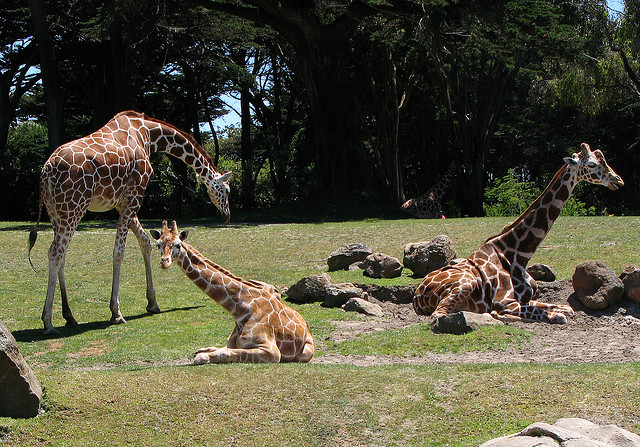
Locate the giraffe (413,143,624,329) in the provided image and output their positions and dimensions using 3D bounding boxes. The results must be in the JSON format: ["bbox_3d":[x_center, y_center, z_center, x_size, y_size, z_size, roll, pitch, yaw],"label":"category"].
[{"bbox_3d":[4.258,0.351,15.412,4.179,3.798,2.931,-2,0,26],"label":"giraffe"}]

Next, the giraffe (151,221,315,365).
[{"bbox_3d":[-1.472,1.426,12.565,3.133,2.445,1.406,8,-14,-28],"label":"giraffe"}]
